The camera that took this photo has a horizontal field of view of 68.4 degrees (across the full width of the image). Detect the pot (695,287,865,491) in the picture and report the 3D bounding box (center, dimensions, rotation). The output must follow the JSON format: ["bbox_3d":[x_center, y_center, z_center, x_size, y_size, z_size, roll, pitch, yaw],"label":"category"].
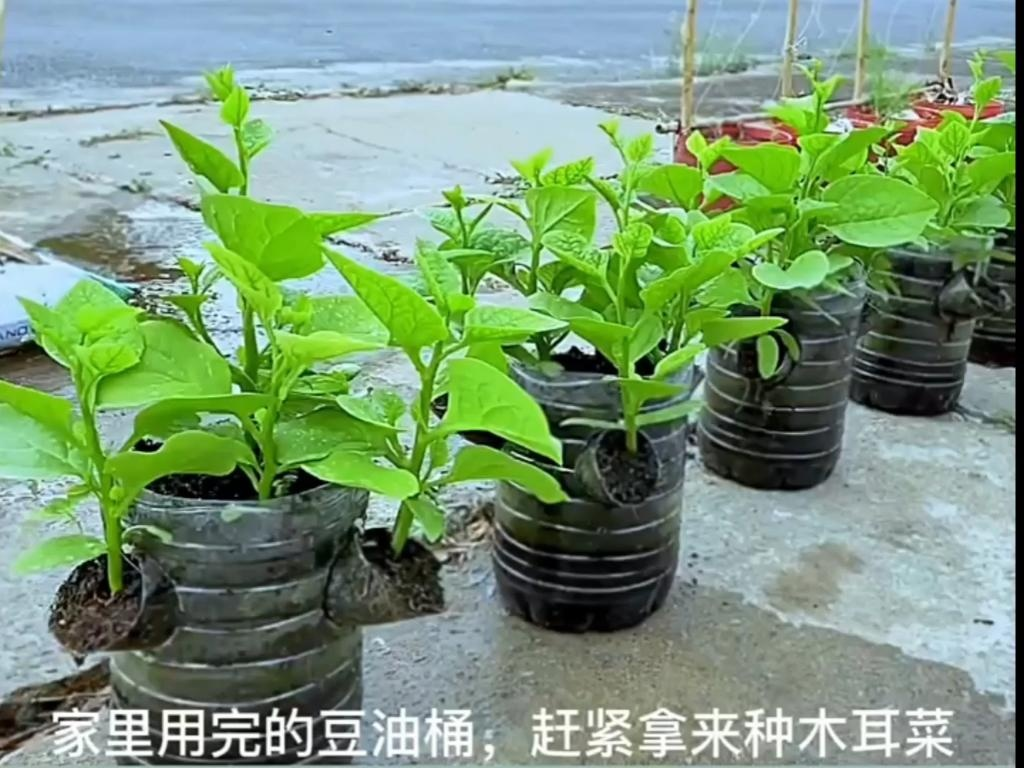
[{"bbox_3d":[0.535,-0.003,1.588,0.329,0.400,0.269,2,16,14],"label":"pot"}]

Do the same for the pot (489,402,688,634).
[{"bbox_3d":[0.114,0.194,1.204,0.287,0.356,0.248,6,11,24],"label":"pot"}]

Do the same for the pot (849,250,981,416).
[{"bbox_3d":[0.930,-0.080,1.799,0.203,0.251,0.204,3,9,0],"label":"pot"}]
